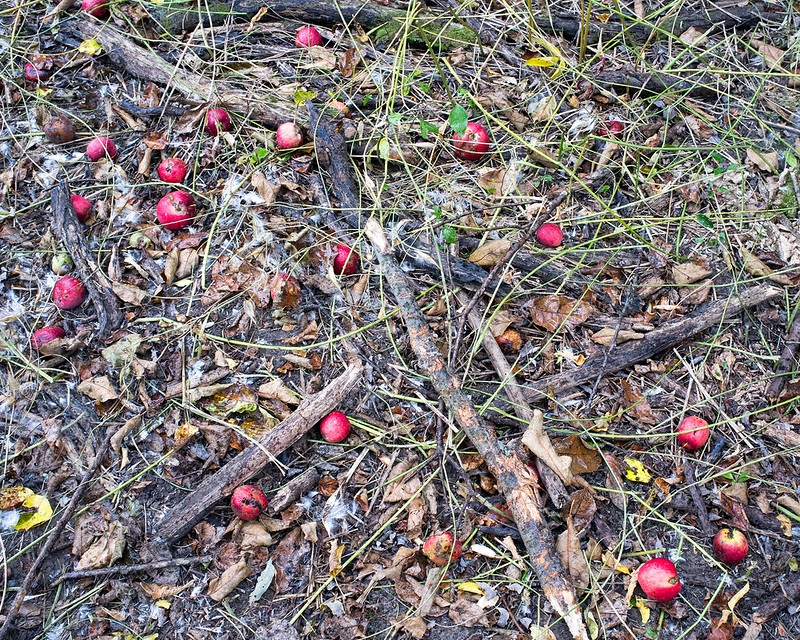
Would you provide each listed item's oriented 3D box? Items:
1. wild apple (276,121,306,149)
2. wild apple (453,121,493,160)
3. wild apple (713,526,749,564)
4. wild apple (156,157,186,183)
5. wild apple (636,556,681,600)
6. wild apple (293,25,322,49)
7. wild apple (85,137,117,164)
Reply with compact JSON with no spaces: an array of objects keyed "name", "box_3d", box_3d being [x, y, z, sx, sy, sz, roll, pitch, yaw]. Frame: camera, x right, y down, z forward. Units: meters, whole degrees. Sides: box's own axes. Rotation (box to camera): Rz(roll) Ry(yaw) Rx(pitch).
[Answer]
[{"name":"wild apple","box_3d":[-0.604,-1.013,4.019,0.140,0.132,0.139,23,40,-27]},{"name":"wild apple","box_3d":[0.399,-0.983,3.968,0.201,0.242,0.207,-14,71,3]},{"name":"wild apple","box_3d":[1.555,1.067,3.370,0.195,0.114,0.139,10,57,-7]},{"name":"wild apple","box_3d":[-1.210,-0.798,3.890,0.131,0.132,0.132,10,79,2]},{"name":"wild apple","box_3d":[1.162,1.184,3.266,0.142,0.129,0.168,-15,63,-21]},{"name":"wild apple","box_3d":[-0.537,-1.654,4.232,0.146,0.097,0.122,3,58,-11]},{"name":"wild apple","box_3d":[-1.626,-0.938,3.951,0.165,0.145,0.137,-20,26,-26]}]
